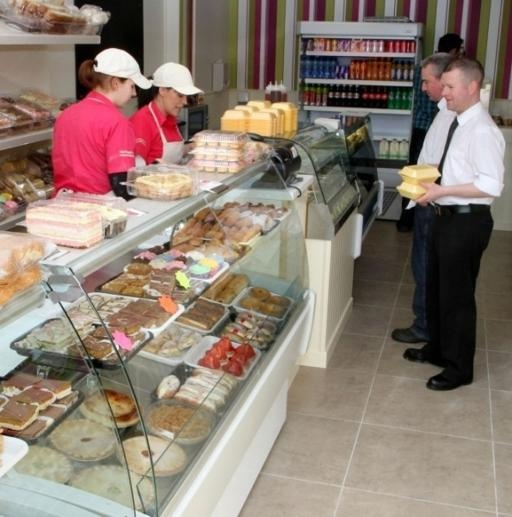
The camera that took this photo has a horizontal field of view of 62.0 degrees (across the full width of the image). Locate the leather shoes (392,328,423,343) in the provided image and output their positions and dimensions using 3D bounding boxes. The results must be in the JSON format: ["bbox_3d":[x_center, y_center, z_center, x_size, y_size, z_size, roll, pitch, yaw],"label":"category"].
[{"bbox_3d":[1.276,0.649,3.610,0.248,0.078,0.122,7,11,18],"label":"leather shoes"}]

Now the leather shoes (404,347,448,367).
[{"bbox_3d":[1.274,0.750,3.307,0.317,0.115,0.107,20,23,36],"label":"leather shoes"}]

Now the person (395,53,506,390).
[{"bbox_3d":[1.320,-0.178,2.837,0.498,2.195,0.623,5,22,19],"label":"person"}]

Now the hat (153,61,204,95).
[{"bbox_3d":[-0.489,-1.089,2.624,0.327,0.152,0.198,17,35,13],"label":"hat"}]

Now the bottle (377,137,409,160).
[{"bbox_3d":[2.113,-1.697,6.550,0.434,0.332,0.190,9,22,24],"label":"bottle"}]

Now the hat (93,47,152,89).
[{"bbox_3d":[-0.669,-0.949,2.185,0.294,0.138,0.178,5,32,-32],"label":"hat"}]
